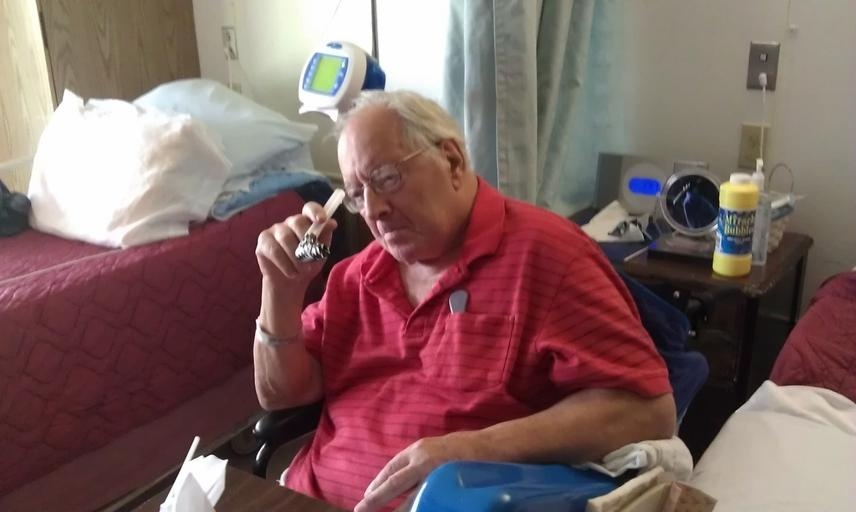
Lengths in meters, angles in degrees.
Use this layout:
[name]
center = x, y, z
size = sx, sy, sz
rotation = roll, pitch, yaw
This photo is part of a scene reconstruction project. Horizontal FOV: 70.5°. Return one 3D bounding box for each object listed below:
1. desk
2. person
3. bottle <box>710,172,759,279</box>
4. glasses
[desk]
center = 0.938, 0.312, 2.334
size = 0.505, 0.465, 0.465
rotation = 2, 21, -47
[person]
center = 0.036, 0.151, 1.737
size = 1.119, 1.130, 0.778
rotation = -9, 26, -14
[bottle]
center = 1.128, -0.128, 2.222
size = 0.146, 0.354, 0.215
rotation = 10, 28, 25
[glasses]
center = -0.113, -0.214, 1.748
size = 0.197, 0.061, 0.191
rotation = -35, 1, -41
